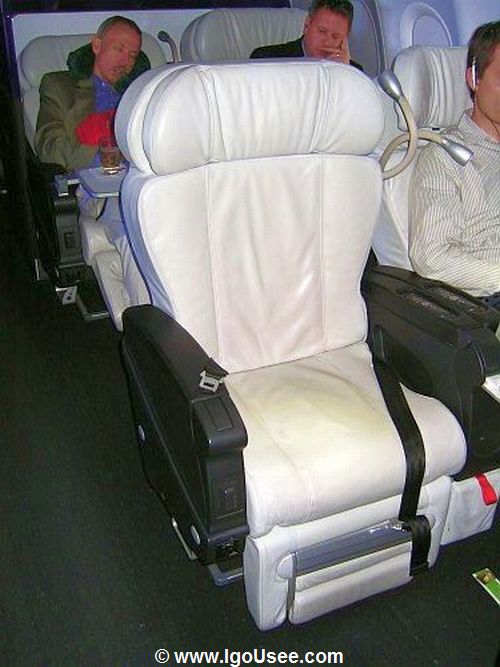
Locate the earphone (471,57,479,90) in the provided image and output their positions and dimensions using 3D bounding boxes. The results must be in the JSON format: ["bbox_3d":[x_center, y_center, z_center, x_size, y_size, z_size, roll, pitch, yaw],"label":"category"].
[{"bbox_3d":[0.546,-0.636,1.228,0.007,0.071,0.016,-10,53,11],"label":"earphone"}]

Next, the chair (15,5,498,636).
[{"bbox_3d":[-0.022,-0.208,1.546,0.857,1.107,1.675,-14,30,-17],"label":"chair"}]

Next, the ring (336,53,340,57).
[{"bbox_3d":[0.409,-1.283,2.337,0.012,0.017,0.004,4,5,-5],"label":"ring"}]
